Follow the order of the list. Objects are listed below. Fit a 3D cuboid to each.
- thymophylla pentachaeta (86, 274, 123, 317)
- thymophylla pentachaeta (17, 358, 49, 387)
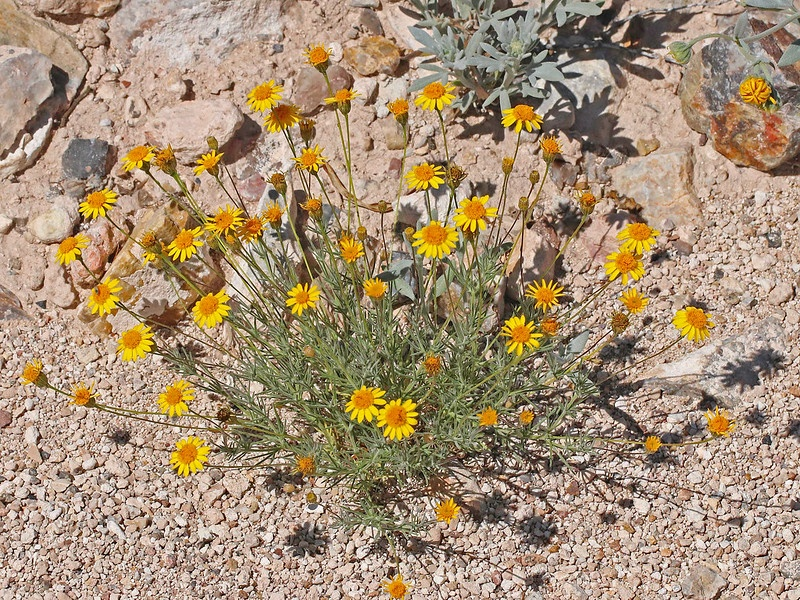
[{"bbox_3d":[-2.025,-0.001,6.410,0.296,0.120,0.337,3,78,31],"label":"thymophylla pentachaeta"},{"bbox_3d":[-2.566,0.512,6.482,0.111,0.169,0.120,-17,47,22],"label":"thymophylla pentachaeta"}]
